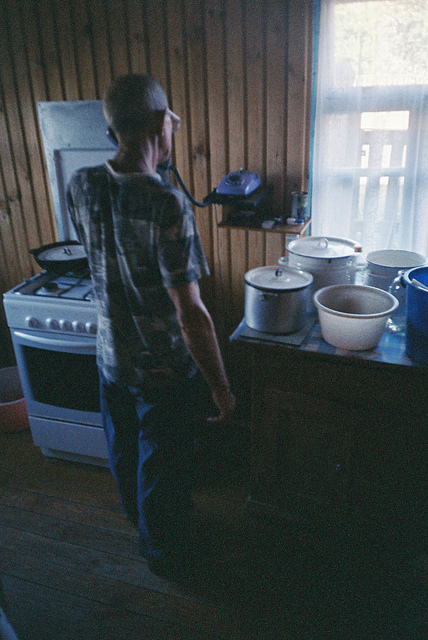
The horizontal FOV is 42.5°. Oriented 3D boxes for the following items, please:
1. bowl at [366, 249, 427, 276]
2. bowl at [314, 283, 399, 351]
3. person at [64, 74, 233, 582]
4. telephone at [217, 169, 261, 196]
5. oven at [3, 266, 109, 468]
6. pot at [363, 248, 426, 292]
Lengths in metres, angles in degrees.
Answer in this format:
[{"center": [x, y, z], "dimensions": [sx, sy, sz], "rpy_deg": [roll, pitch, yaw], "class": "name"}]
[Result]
[{"center": [0.643, -0.193, 1.961], "dimensions": [0.204, 0.058, 0.179], "rpy_deg": [10, 26, 22], "class": "bowl"}, {"center": [0.451, -0.005, 1.781], "dimensions": [0.262, 0.143, 0.245], "rpy_deg": [-1, 24, 0], "class": "bowl"}, {"center": [-0.199, 0.119, 1.950], "dimensions": [0.515, 1.796, 0.383], "rpy_deg": [-5, 24, -9], "class": "person"}, {"center": [0.109, -0.586, 2.354], "dimensions": [0.135, 0.087, 0.279], "rpy_deg": [7, 25, 17], "class": "telephone"}, {"center": [-0.755, 0.258, 2.763], "dimensions": [0.585, 0.904, 0.639], "rpy_deg": [-1, 24, -18], "class": "oven"}, {"center": [0.640, -0.194, 1.980], "dimensions": [0.183, 0.134, 0.161], "rpy_deg": [-5, 19, -13], "class": "pot"}]
